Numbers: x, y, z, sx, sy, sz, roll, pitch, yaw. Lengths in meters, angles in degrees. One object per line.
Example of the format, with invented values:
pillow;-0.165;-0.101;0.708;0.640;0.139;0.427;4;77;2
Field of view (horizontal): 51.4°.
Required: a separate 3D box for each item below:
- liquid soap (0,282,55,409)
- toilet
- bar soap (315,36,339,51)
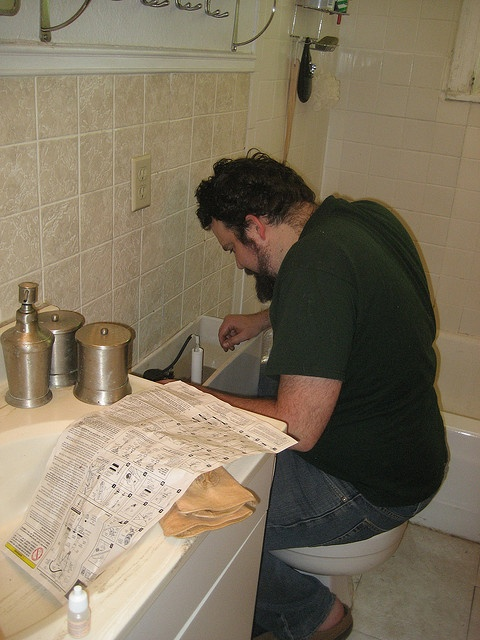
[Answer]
liquid soap;-0.301;0.034;0.704;0.069;0.187;0.068;-3;21;-24
toilet;0.032;0.304;1.588;0.882;0.887;0.673;6;29;15
bar soap;0.325;-1.039;1.881;0.058;0.023;0.098;-1;3;0
